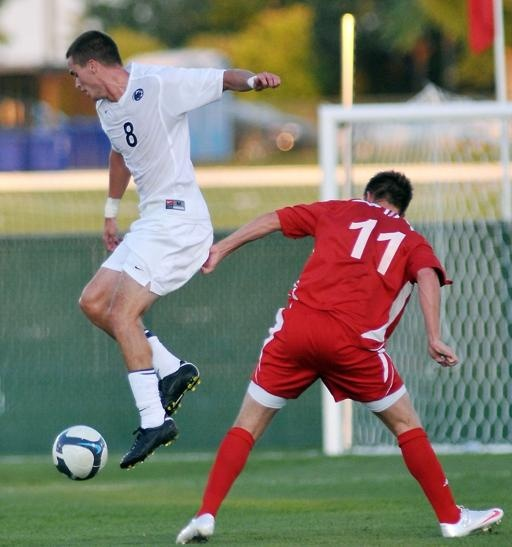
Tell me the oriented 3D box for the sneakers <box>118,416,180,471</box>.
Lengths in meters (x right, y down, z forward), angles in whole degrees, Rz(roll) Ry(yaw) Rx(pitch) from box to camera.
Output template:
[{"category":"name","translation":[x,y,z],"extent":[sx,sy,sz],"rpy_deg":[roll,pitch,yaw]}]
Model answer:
[{"category":"sneakers","translation":[-0.616,0.993,7.699],"extent":[0.279,0.261,0.292],"rpy_deg":[5,17,15]}]

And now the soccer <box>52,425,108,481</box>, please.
[{"category":"soccer","translation":[-1.053,1.045,7.847],"extent":[0.286,0.316,0.297],"rpy_deg":[8,-7,-12]}]

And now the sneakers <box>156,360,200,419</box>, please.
[{"category":"sneakers","translation":[-0.504,0.729,7.996],"extent":[0.192,0.149,0.420],"rpy_deg":[20,32,-2]}]

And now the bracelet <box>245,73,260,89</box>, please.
[{"category":"bracelet","translation":[-0.024,-1.082,7.483],"extent":[0.056,0.062,0.074],"rpy_deg":[-8,11,-13]}]

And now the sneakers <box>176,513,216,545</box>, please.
[{"category":"sneakers","translation":[-0.335,1.397,7.214],"extent":[0.204,0.192,0.130],"rpy_deg":[2,16,5]}]
